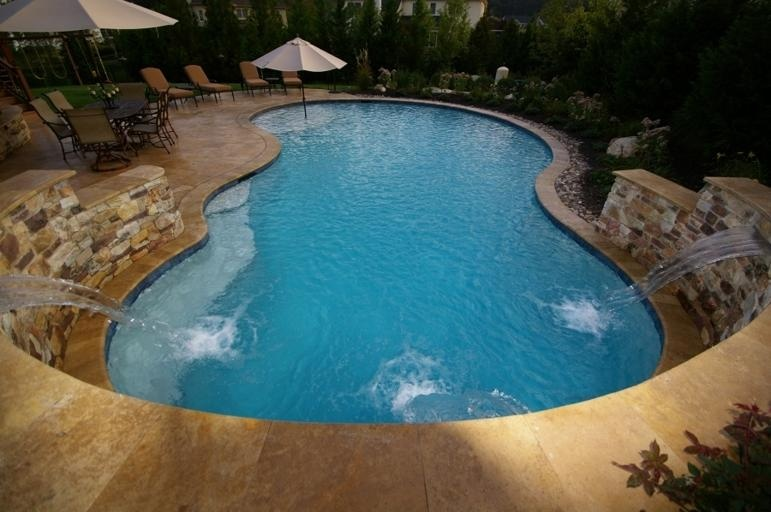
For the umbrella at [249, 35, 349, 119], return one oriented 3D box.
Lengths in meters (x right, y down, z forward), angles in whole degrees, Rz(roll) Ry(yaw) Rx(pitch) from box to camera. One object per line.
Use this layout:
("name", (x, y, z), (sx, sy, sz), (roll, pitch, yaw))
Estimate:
("umbrella", (-3.012, -6.147, 14.790), (3.127, 2.298, 2.939), (-4, 29, -8))
